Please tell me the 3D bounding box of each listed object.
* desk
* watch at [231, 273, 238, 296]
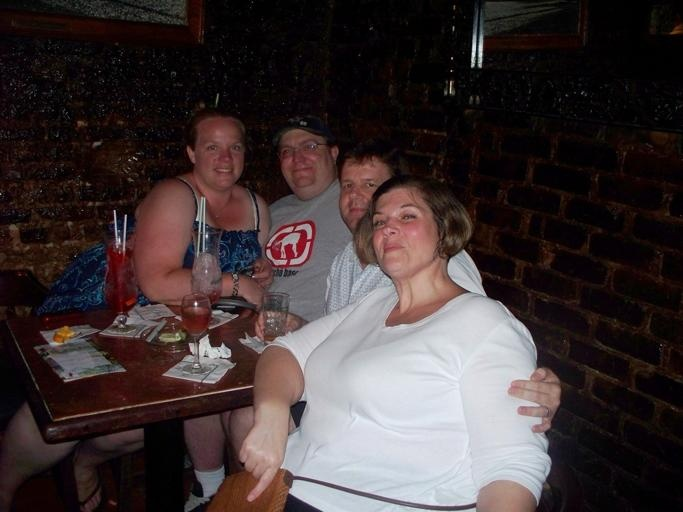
[{"bbox_3d":[-0.652,0.403,1.636,0.691,0.631,0.663,-9,29,-22],"label":"desk"},{"bbox_3d":[-0.473,0.121,2.157,0.030,0.078,0.075,4,-4,1],"label":"watch"}]
